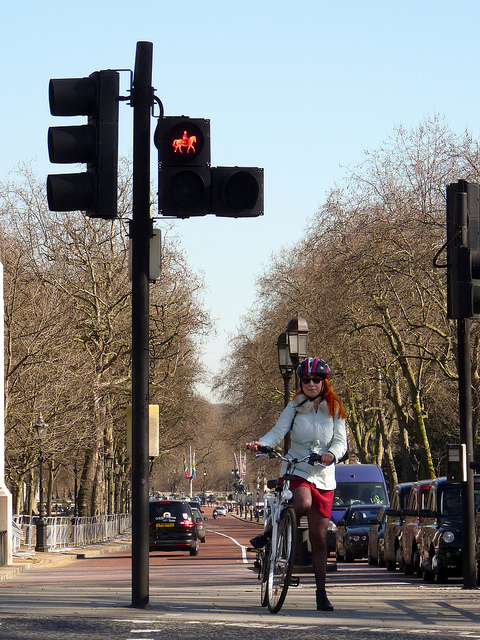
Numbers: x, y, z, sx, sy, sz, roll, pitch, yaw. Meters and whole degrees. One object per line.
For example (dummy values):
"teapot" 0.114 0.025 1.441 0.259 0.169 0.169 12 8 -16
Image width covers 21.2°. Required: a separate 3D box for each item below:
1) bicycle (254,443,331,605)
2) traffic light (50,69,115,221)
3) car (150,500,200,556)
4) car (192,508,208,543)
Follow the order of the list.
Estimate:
"bicycle" 0.288 1.689 10.298 0.541 1.195 1.587 11 -6 -6
"traffic light" -1.221 -1.290 10.104 0.392 1.365 0.401 5 -25 -17
"car" -1.548 4.896 30.168 0.635 0.905 1.551 0 -1 3
"car" -1.388 7.023 43.283 0.700 0.835 1.624 1 -1 1
